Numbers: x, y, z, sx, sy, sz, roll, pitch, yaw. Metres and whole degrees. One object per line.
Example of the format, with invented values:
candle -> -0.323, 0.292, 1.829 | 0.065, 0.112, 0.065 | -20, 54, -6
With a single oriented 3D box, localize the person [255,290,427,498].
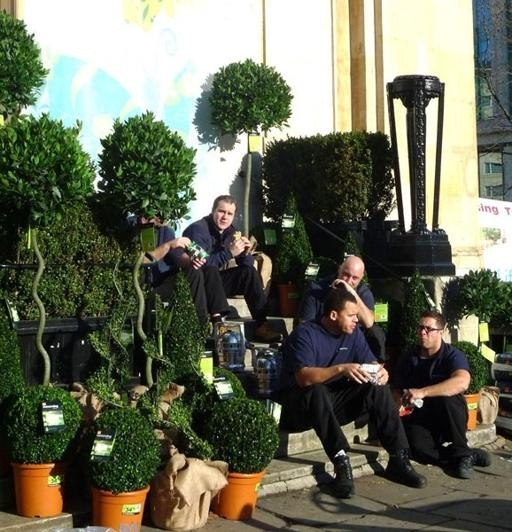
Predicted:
person -> 0.637, 0.893, 5.022 | 0.923, 1.355, 1.199 | 3, -2, -32

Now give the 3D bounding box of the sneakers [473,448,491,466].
sneakers -> 1.863, 1.580, 5.420 | 0.086, 0.114, 0.242 | -1, -7, -9

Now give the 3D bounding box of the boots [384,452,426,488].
boots -> 1.091, 1.517, 4.895 | 0.119, 0.262, 0.347 | -2, 2, -43

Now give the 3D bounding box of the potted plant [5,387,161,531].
potted plant -> -0.960, 1.054, 3.591 | 0.801, 0.571, 0.318 | 6, 2, 13

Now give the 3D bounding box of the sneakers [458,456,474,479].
sneakers -> 1.640, 1.572, 5.138 | 0.108, 0.165, 0.196 | 6, 2, 18

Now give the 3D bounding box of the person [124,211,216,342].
person -> -0.747, 0.041, 5.642 | 0.717, 0.796, 1.596 | 6, 2, -4

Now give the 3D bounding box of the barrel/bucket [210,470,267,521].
barrel/bucket -> -0.130, 1.402, 4.058 | 0.320, 0.255, 0.322 | 4, -14, 1

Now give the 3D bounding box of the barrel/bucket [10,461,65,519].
barrel/bucket -> -1.183, 1.217, 3.557 | 0.263, 0.225, 0.282 | 0, -12, 0

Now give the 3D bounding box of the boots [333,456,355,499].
boots -> 0.604, 1.462, 4.538 | 0.093, 0.126, 0.288 | -1, 25, 0

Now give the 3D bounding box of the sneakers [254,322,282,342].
sneakers -> 0.101, 0.692, 6.864 | 0.322, 0.223, 0.125 | -1, -1, 20

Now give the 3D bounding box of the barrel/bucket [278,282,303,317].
barrel/bucket -> 0.359, 0.379, 7.442 | 0.309, 0.323, 0.324 | 1, -5, 0

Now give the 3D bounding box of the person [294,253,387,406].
person -> 0.781, 0.413, 6.386 | 0.932, 1.089, 0.620 | 3, 17, -11
